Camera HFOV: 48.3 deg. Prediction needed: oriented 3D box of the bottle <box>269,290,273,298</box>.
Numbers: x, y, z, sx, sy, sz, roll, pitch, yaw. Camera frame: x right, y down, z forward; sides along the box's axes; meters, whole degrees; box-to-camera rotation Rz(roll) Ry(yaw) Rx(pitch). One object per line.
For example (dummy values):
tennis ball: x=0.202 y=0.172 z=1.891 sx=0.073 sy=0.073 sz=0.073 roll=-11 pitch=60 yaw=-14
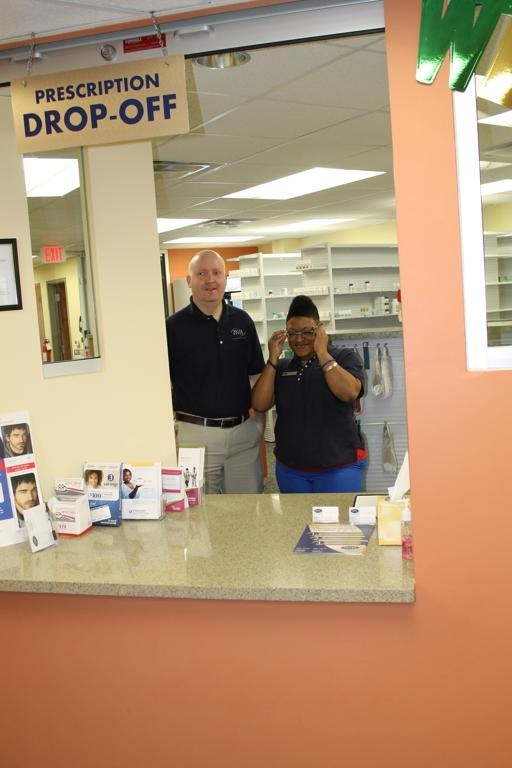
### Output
bottle: x=0.295 y=-1.809 z=11.280 sx=0.111 sy=0.167 sz=0.107 roll=1 pitch=5 yaw=0

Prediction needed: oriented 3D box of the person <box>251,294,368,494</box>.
person: x=0.220 y=0.046 z=2.618 sx=0.545 sy=0.916 sz=0.563 roll=-3 pitch=4 yaw=11

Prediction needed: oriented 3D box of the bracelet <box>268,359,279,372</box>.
bracelet: x=0.084 y=-0.094 z=2.759 sx=0.039 sy=0.028 sz=0.054 roll=12 pitch=8 yaw=-30

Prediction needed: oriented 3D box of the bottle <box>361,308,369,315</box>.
bottle: x=2.110 y=-1.422 z=11.048 sx=0.188 sy=0.183 sz=0.134 roll=5 pitch=10 yaw=28

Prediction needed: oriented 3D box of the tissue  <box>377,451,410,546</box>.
tissue : x=0.372 y=0.301 z=1.524 sx=0.087 sy=0.232 sz=0.084 roll=10 pitch=3 yaw=-4

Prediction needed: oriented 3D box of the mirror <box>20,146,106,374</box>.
mirror: x=-0.668 y=-0.438 z=1.960 sx=0.126 sy=0.734 sz=0.185 roll=-2 pitch=5 yaw=23

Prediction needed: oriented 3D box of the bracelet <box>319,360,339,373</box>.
bracelet: x=0.332 y=-0.084 z=2.576 sx=0.053 sy=0.038 sz=0.054 roll=-3 pitch=11 yaw=-7
